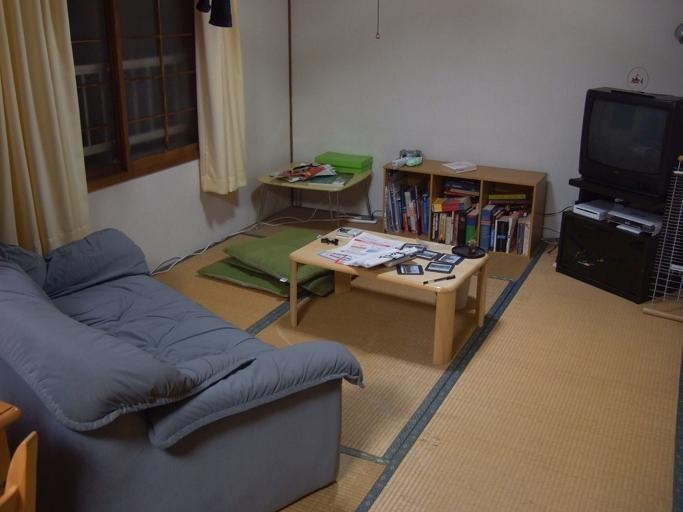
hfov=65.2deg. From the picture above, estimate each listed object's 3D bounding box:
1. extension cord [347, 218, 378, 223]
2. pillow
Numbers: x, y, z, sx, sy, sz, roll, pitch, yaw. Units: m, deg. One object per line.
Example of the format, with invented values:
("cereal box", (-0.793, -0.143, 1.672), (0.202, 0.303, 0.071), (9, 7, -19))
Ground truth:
("extension cord", (0.205, -0.343, 5.312), (0.281, 0.022, 0.098), (0, 22, 3))
("pillow", (-0.549, 0.067, 4.066), (0.623, 0.141, 0.637), (14, 26, 29))
